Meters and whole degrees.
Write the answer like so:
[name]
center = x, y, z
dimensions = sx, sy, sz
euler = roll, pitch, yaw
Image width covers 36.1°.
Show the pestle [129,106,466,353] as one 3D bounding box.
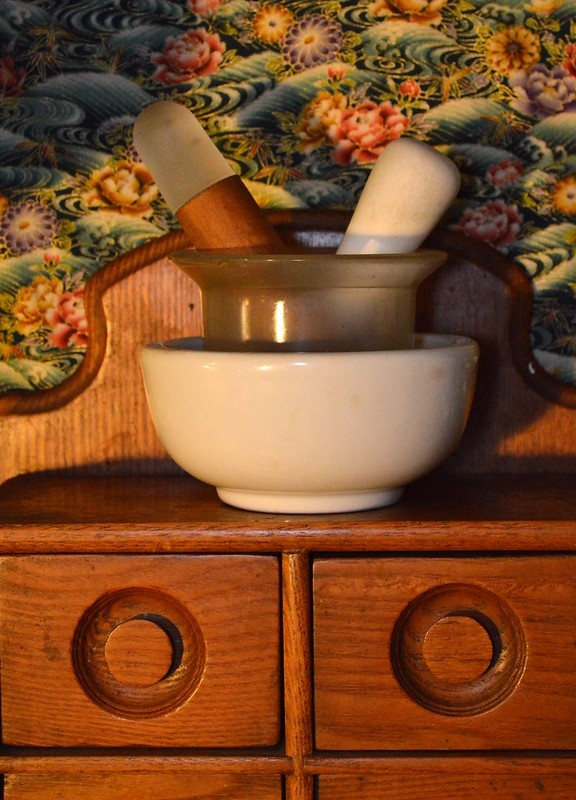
[pestle]
center = 0.042, -0.131, 0.773
dimensions = 0.275, 0.154, 0.232
euler = -3, 4, -39
